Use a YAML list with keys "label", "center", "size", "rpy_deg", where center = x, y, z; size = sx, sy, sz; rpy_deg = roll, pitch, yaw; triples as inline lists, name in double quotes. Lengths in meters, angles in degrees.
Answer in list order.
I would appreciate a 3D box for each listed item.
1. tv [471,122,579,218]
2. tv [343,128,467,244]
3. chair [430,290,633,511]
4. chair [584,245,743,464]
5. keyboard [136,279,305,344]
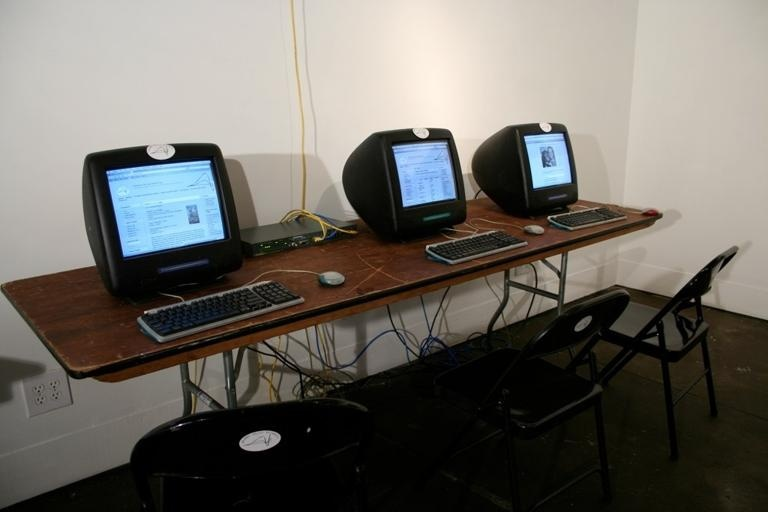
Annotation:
- label: "tv"
  center: [0.808, -0.557, 3.235]
  size: [0.577, 0.531, 0.563]
  rpy_deg: [14, 22, 42]
- label: "tv"
  center: [0.099, -0.395, 2.887]
  size: [0.614, 0.570, 0.594]
  rpy_deg: [24, 29, 38]
- label: "chair"
  center: [0.708, 0.734, 2.626]
  size: [0.661, 0.977, 0.764]
  rpy_deg: [-15, 28, -28]
- label: "chair"
  center: [1.595, 0.569, 3.032]
  size: [0.614, 1.087, 0.850]
  rpy_deg: [-24, 32, -37]
- label: "keyboard"
  center: [-0.607, 0.196, 2.033]
  size: [0.565, 0.067, 0.196]
  rpy_deg: [-14, 23, -25]
